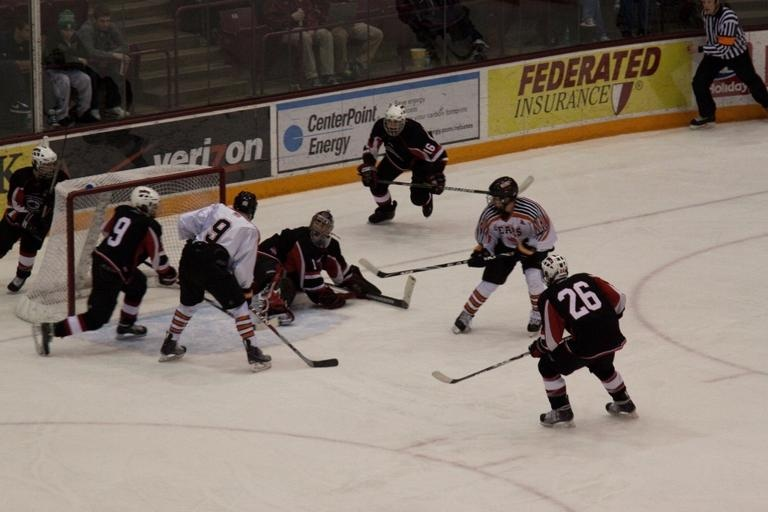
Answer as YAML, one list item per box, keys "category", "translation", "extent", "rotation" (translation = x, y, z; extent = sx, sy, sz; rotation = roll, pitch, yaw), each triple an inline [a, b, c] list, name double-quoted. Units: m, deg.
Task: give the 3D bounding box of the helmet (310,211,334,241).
- category: "helmet"
  translation: [-0.563, -0.303, 9.426]
  extent: [0.242, 0.275, 0.296]
  rotation: [23, -1, -4]

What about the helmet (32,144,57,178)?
- category: "helmet"
  translation: [-3.562, -0.993, 9.759]
  extent: [0.228, 0.320, 0.187]
  rotation: [-9, 15, -18]

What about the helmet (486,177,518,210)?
- category: "helmet"
  translation: [1.107, -0.585, 8.817]
  extent: [0.356, 0.290, 0.241]
  rotation: [-1, 34, 2]

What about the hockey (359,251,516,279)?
- category: "hockey"
  translation: [0.583, 0.108, 10.115]
  extent: [1.266, 0.099, 0.190]
  rotation: [-5, 37, -2]

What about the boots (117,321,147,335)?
- category: "boots"
  translation: [-2.471, 0.715, 9.087]
  extent: [0.314, 0.115, 0.101]
  rotation: [-4, 35, -20]

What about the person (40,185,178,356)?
- category: "person"
  translation: [-2.727, 0.155, 9.034]
  extent: [1.643, 1.622, 0.748]
  rotation: [-6, 48, -28]

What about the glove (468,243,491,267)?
- category: "glove"
  translation: [0.943, -0.008, 9.134]
  extent: [0.238, 0.171, 0.095]
  rotation: [-47, 2, -9]

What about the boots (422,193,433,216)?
- category: "boots"
  translation: [0.523, -0.644, 11.854]
  extent: [0.115, 0.262, 0.119]
  rotation: [9, 18, 11]

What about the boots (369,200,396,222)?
- category: "boots"
  translation: [-0.034, -0.550, 11.900]
  extent: [0.417, 0.156, 0.188]
  rotation: [-33, 66, -17]

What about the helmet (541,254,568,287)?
- category: "helmet"
  translation: [1.449, 0.097, 7.771]
  extent: [0.220, 0.229, 0.259]
  rotation: [-8, 7, -7]

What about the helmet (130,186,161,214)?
- category: "helmet"
  translation: [-2.227, -0.521, 8.811]
  extent: [0.317, 0.255, 0.216]
  rotation: [3, 43, -5]

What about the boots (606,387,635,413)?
- category: "boots"
  translation: [1.964, 1.199, 7.774]
  extent: [0.105, 0.212, 0.222]
  rotation: [-38, 31, -5]

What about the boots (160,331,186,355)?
- category: "boots"
  translation: [-1.982, 0.817, 8.732]
  extent: [0.137, 0.220, 0.248]
  rotation: [17, 30, 22]

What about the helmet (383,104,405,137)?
- category: "helmet"
  translation: [0.132, -1.626, 11.326]
  extent: [0.311, 0.352, 0.346]
  rotation: [5, 49, 6]

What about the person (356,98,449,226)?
- category: "person"
  translation: [0.175, -1.163, 12.080]
  extent: [1.289, 1.778, 1.072]
  rotation: [16, 44, 16]

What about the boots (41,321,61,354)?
- category: "boots"
  translation: [-3.094, 0.750, 8.657]
  extent: [0.118, 0.322, 0.140]
  rotation: [4, 2, -19]

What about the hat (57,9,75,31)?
- category: "hat"
  translation: [-3.729, -2.756, 10.935]
  extent: [0.231, 0.209, 0.220]
  rotation: [-6, 31, -24]

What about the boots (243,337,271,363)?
- category: "boots"
  translation: [-1.135, 0.860, 8.524]
  extent: [0.266, 0.275, 0.131]
  rotation: [-14, 18, -35]

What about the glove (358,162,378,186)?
- category: "glove"
  translation: [-0.226, -1.005, 11.655]
  extent: [0.228, 0.257, 0.118]
  rotation: [10, -21, -4]

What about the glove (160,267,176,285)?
- category: "glove"
  translation: [-2.095, 0.185, 8.980]
  extent: [0.170, 0.089, 0.166]
  rotation: [-16, -16, 30]

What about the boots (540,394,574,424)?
- category: "boots"
  translation: [1.425, 1.298, 7.760]
  extent: [0.319, 0.203, 0.136]
  rotation: [-3, 2, 41]

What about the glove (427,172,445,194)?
- category: "glove"
  translation: [0.706, -0.903, 11.547]
  extent: [0.276, 0.239, 0.211]
  rotation: [-4, 8, 38]

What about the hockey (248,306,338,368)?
- category: "hockey"
  translation: [-1.084, 0.680, 9.076]
  extent: [0.280, 0.234, 1.846]
  rotation: [-1, 17, -36]
